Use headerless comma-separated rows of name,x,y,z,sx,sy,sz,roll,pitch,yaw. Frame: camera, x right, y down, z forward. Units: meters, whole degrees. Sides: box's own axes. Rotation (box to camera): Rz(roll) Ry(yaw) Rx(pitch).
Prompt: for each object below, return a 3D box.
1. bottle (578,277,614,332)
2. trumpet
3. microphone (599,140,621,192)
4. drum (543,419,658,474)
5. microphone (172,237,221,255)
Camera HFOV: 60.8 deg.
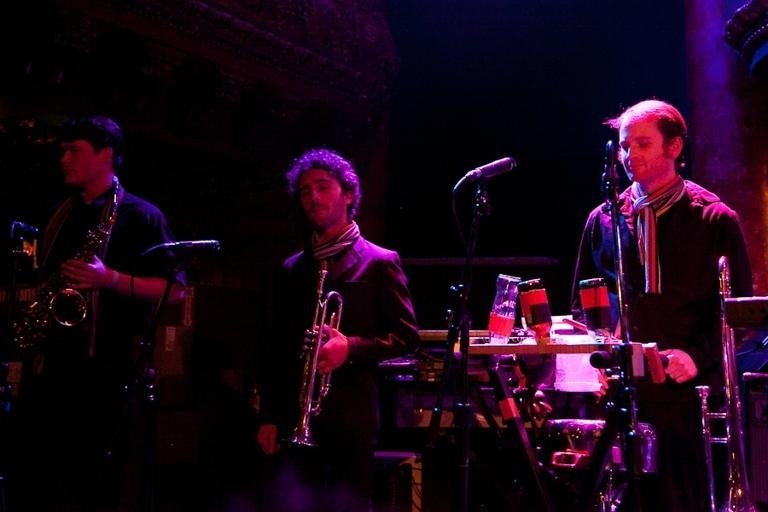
bottle,1.278,0.294,3.943,0.156,0.339,0.192,-5,-19,20
trumpet,-0.431,0.644,4.299,0.296,1.164,0.266,0,-18,5
microphone,1.356,-0.550,3.944,0.091,0.391,0.273,-5,-19,18
drum,1.339,1.108,4.081,0.761,0.352,0.621,1,-7,13
microphone,-1.259,-0.065,4.492,0.367,0.104,0.190,-5,-18,17
